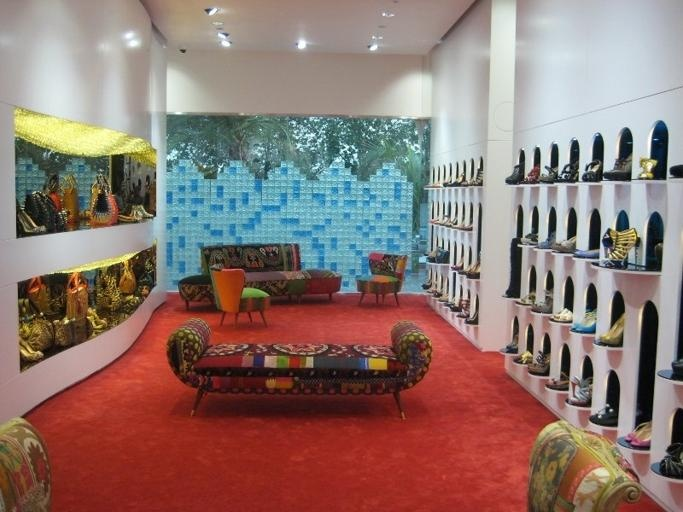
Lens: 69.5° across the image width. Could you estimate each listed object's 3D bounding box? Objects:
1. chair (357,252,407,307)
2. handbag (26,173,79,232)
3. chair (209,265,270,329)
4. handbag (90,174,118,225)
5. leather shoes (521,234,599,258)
[{"bbox_3d":[0.854,0.507,10.789,0.929,1.224,0.914,3,2,43],"label":"chair"},{"bbox_3d":[-3.218,-0.581,5.472,0.510,0.589,0.572,1,2,11],"label":"handbag"},{"bbox_3d":[-1.867,0.654,8.851,0.881,0.995,0.935,-5,6,-40],"label":"chair"},{"bbox_3d":[-3.274,-0.763,6.732,0.230,0.720,0.848,0,6,-13],"label":"handbag"},{"bbox_3d":[2.262,-0.099,4.984,0.470,0.190,0.143,11,7,38],"label":"leather shoes"}]
